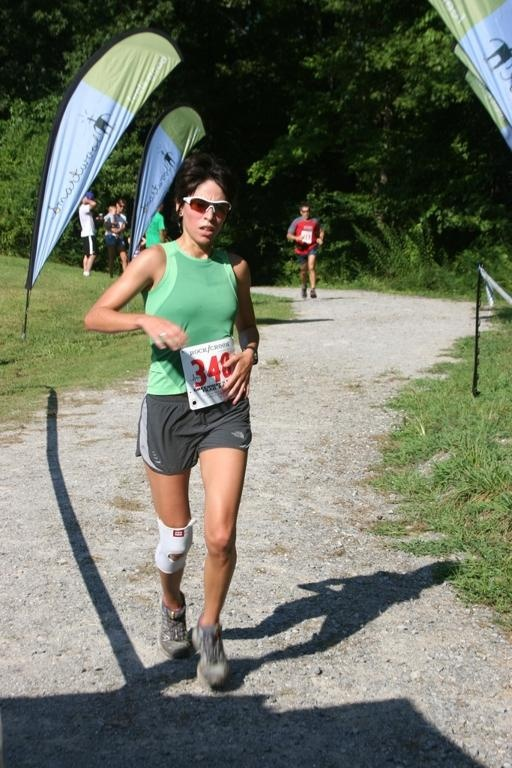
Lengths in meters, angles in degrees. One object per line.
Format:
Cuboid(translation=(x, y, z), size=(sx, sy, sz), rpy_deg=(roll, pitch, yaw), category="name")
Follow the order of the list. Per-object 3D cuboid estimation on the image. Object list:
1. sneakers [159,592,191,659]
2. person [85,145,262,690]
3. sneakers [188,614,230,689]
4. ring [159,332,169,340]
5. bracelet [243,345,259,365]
Cuboid(translation=(-0.319, 0.962, 2.800), size=(0.103, 0.182, 0.268), rpy_deg=(0, 4, -9), category="sneakers")
Cuboid(translation=(-0.288, 0.131, 2.614), size=(0.541, 1.910, 0.629), rpy_deg=(1, 11, 4), category="person")
Cuboid(translation=(-0.173, 0.929, 2.554), size=(0.102, 0.117, 0.265), rpy_deg=(0, 39, -23), category="sneakers")
Cuboid(translation=(-0.290, -0.152, 2.250), size=(0.023, 0.020, 0.013), rpy_deg=(-2, 11, -7), category="ring")
Cuboid(translation=(-0.018, -0.113, 2.855), size=(0.078, 0.080, 0.054), rpy_deg=(7, 16, 27), category="bracelet")
